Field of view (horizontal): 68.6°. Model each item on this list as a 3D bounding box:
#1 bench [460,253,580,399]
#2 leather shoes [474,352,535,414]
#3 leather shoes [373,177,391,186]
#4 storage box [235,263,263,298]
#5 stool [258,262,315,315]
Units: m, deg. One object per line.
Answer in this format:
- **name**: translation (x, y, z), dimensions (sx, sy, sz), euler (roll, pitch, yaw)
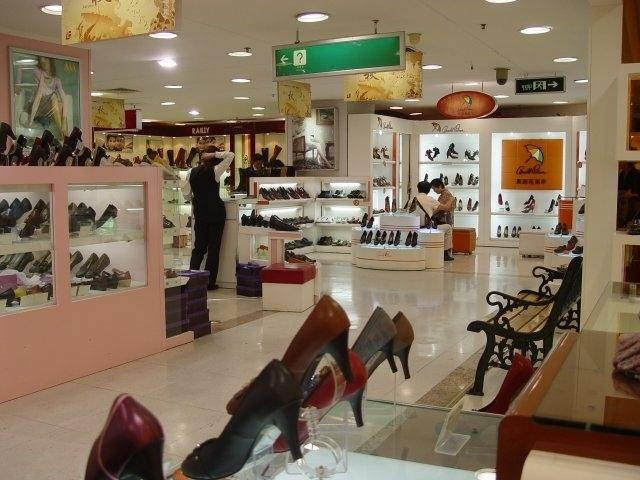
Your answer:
- **bench**: translation (2.059, 0.717, 4.513), dimensions (0.832, 1.023, 2.223), euler (-1, 0, 31)
- **leather shoes**: translation (0.676, 0.533, 1.699), dimensions (0.078, 0.272, 0.177), euler (-2, 6, -21)
- **leather shoes**: translation (1.692, -1.515, 12.374), dimensions (0.196, 0.269, 0.688), euler (4, 5, 36)
- **storage box**: translation (-1.171, 0.664, 7.574), dimensions (0.430, 0.637, 0.604), euler (0, 0, 15)
- **stool**: translation (-0.532, 0.721, 6.910), dimensions (0.709, 0.594, 0.781), euler (2, -1, 19)
